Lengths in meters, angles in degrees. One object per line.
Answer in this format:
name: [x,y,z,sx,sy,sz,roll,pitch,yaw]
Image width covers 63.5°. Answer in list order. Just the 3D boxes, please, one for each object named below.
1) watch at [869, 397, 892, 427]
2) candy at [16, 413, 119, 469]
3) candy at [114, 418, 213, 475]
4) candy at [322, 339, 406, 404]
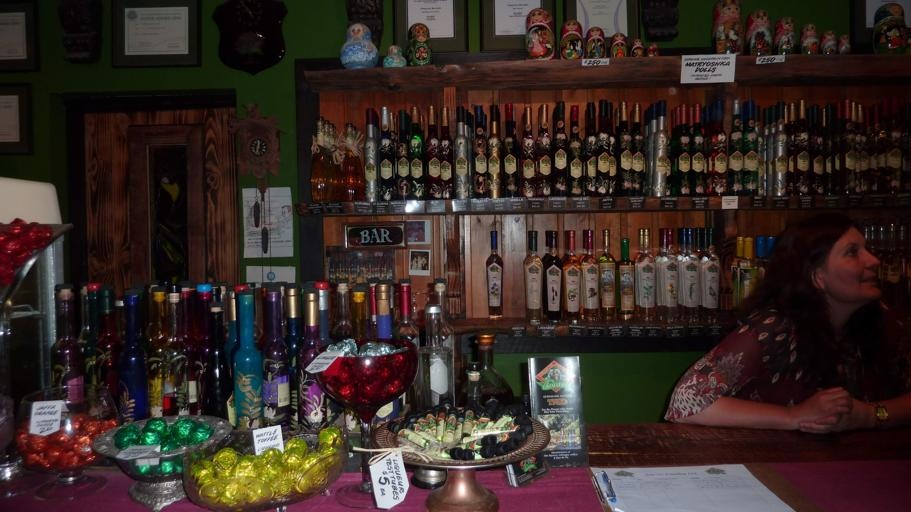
watch: [2.120,0.787,3.690,0.073,0.106,0.107,0,-6,7]
candy: [-1.783,0.838,3.312,0.298,0.188,0.286,2,-3,-25]
candy: [-1.302,0.792,3.284,0.303,0.122,0.294,4,-1,-43]
candy: [-0.422,0.500,3.334,0.310,0.219,0.306,-4,-5,43]
